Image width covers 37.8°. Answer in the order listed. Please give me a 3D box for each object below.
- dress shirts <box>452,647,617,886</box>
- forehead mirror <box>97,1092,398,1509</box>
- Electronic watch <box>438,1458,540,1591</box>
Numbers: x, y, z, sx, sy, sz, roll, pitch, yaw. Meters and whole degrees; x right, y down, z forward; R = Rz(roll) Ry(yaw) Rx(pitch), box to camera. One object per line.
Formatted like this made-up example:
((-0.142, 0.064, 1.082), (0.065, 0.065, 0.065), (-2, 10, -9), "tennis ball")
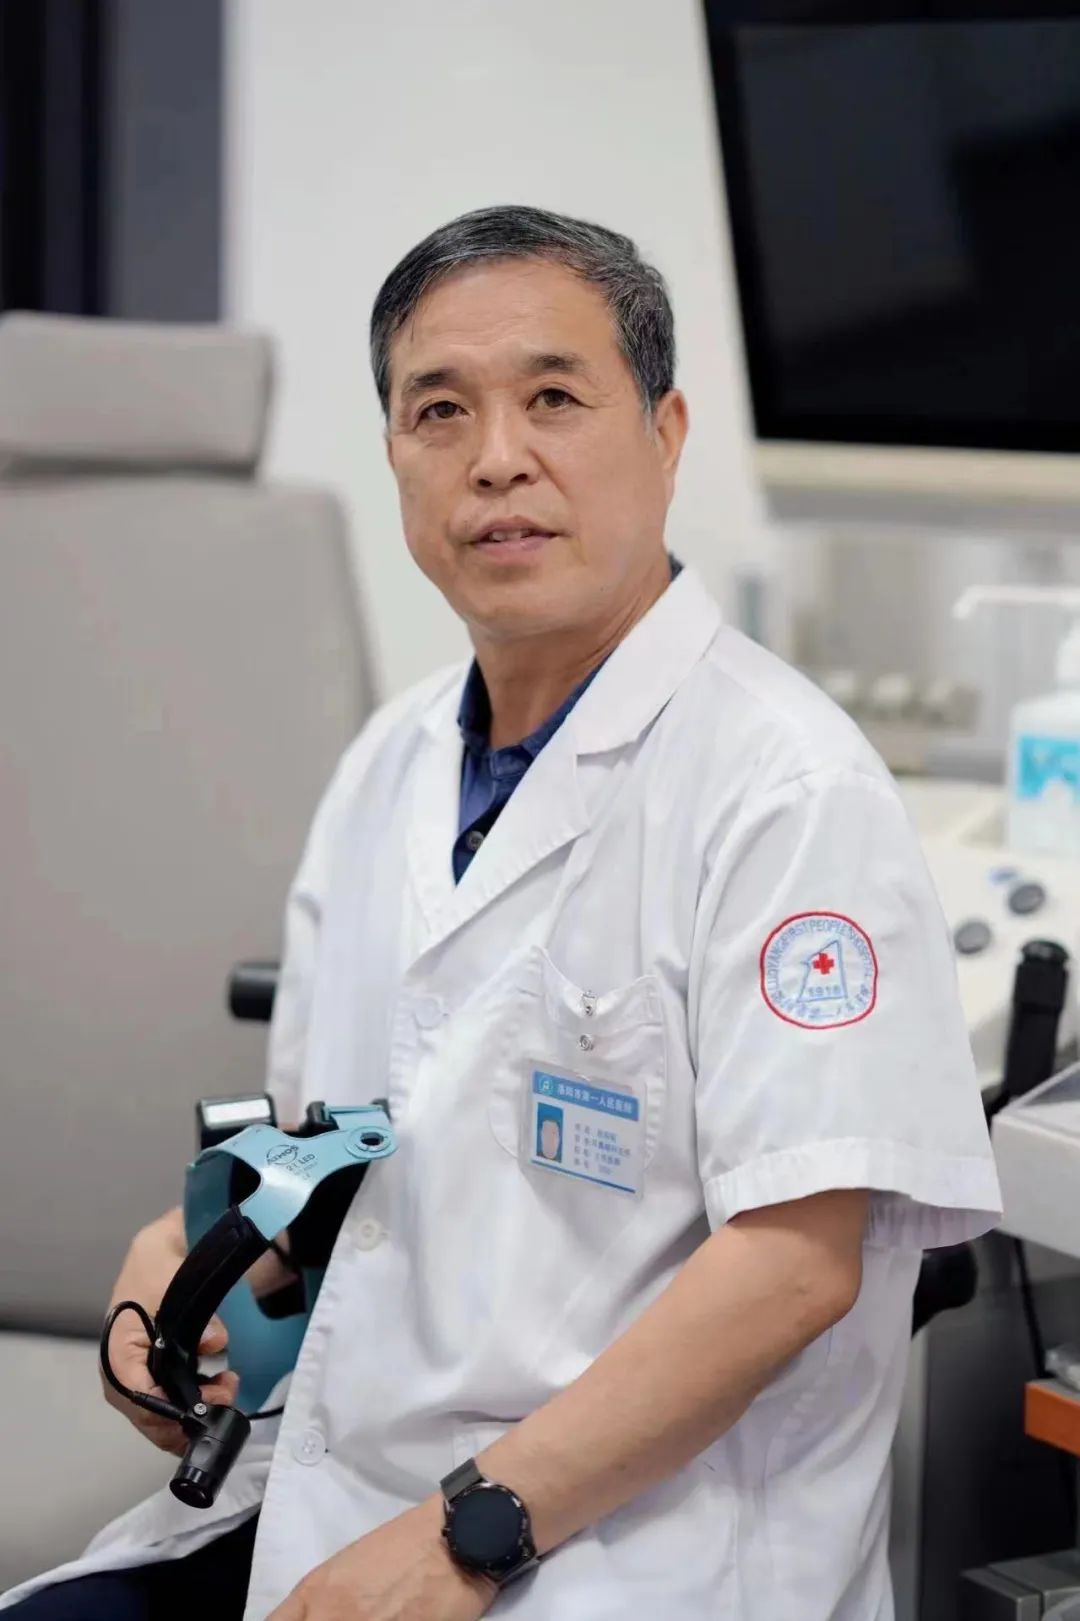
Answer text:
((-0.038, -0.027, 1.074), (0.049, 0.123, 0.153), (23, -9, -26), "dress shirts")
((-0.174, 0.288, 0.954), (0.174, 0.209, 0.196), (-1, -6, 1), "forehead mirror")
((-0.029, 0.354, 0.800), (0.041, 0.062, 0.061), (11, -10, 2), "Electronic watch")
